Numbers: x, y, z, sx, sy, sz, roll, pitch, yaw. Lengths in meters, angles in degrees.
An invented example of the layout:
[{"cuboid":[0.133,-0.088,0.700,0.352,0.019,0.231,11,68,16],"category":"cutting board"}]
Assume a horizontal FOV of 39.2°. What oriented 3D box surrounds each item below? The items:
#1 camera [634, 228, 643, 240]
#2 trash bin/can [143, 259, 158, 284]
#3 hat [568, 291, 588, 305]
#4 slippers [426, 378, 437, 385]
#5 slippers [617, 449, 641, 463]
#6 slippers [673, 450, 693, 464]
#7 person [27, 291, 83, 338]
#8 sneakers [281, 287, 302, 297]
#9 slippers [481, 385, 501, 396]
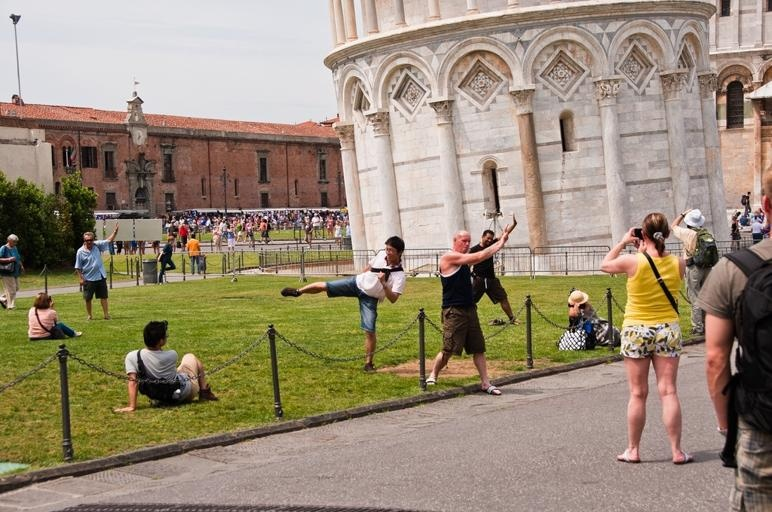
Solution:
[{"cuboid":[4.352,-0.378,18.650,0.045,0.160,0.183,1,4,-33],"category":"camera"},{"cuboid":[-8.858,0.608,40.970,0.498,0.936,0.911,-3,13,-9],"category":"trash bin/can"},{"cuboid":[4.489,1.020,25.302,0.421,0.354,0.444,1,12,7],"category":"hat"},{"cuboid":[0.943,2.585,22.241,0.129,0.124,0.316,-2,-7,4],"category":"slippers"},{"cuboid":[4.122,3.408,18.331,0.206,0.149,0.376,-2,6,-23],"category":"slippers"},{"cuboid":[5.031,3.396,18.272,0.378,0.215,0.207,-10,15,-37],"category":"slippers"},{"cuboid":[-7.958,1.504,25.886,0.815,1.075,1.427,3,4,24],"category":"person"},{"cuboid":[-1.923,0.759,22.148,0.393,0.145,0.227,-3,3,-33],"category":"sneakers"},{"cuboid":[2.155,2.738,21.960,0.181,0.116,0.342,-4,4,-44],"category":"slippers"}]
